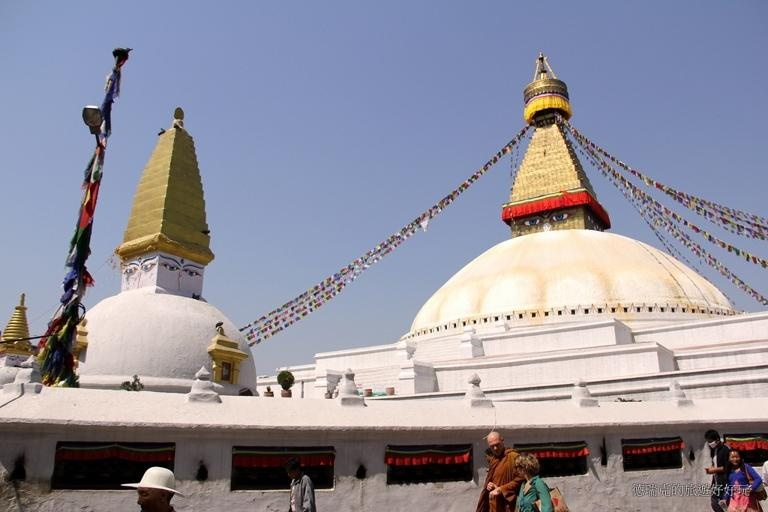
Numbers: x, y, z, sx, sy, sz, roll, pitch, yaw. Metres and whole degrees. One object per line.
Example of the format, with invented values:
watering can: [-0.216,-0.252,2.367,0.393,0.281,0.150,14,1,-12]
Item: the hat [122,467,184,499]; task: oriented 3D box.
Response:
hat: [-3.056,3.049,9.378,0.726,0.292,0.692,8,-23,-9]
